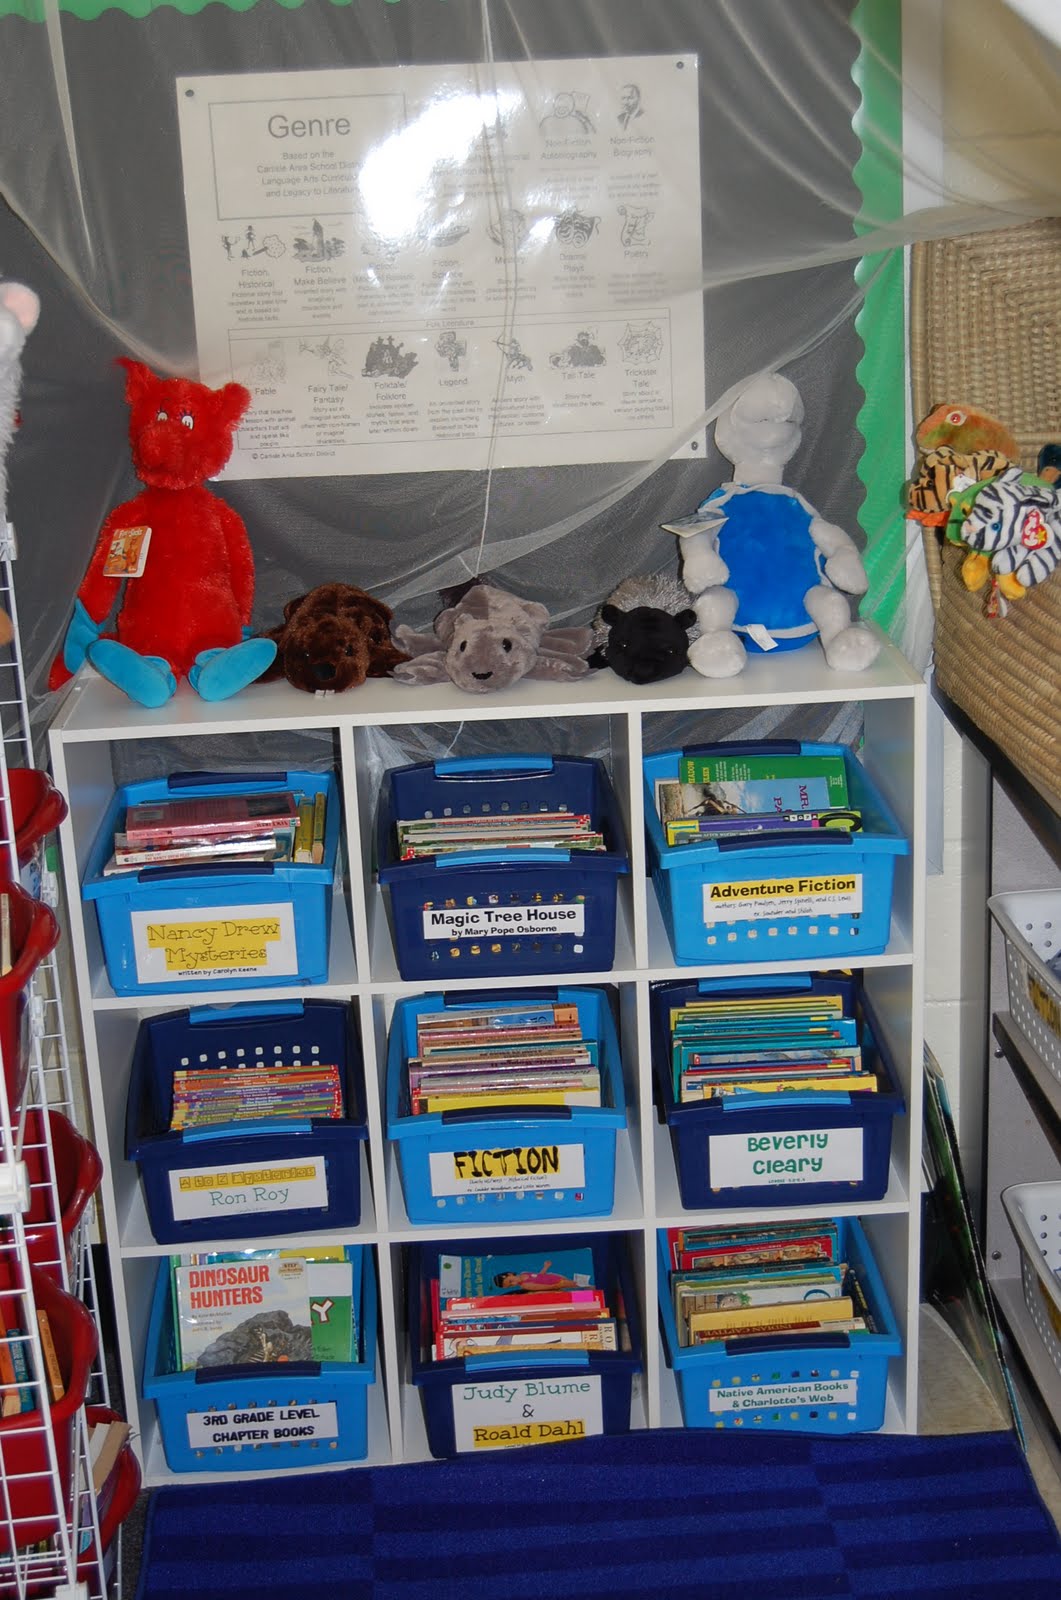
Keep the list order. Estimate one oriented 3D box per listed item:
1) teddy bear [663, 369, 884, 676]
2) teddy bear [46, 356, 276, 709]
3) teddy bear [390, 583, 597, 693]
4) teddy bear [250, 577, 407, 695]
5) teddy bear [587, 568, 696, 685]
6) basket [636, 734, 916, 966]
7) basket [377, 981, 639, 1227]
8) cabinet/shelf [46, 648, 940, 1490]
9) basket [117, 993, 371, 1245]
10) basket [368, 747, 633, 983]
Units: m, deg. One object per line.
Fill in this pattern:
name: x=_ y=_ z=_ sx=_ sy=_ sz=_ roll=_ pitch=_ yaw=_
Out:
teddy bear: x=0.253 y=-0.342 z=1.536 sx=0.241 sy=0.328 sz=0.265 roll=-9 pitch=18 yaw=-20
teddy bear: x=-0.445 y=-0.329 z=1.519 sx=0.339 sy=0.482 sz=0.286 roll=-1 pitch=20 yaw=-11
teddy bear: x=-0.047 y=-0.189 z=1.474 sx=0.235 sy=0.106 sz=0.148 roll=-2 pitch=17 yaw=3
teddy bear: x=-0.231 y=-0.206 z=1.507 sx=0.123 sy=0.054 sz=0.161 roll=-1 pitch=32 yaw=5
teddy bear: x=0.129 y=-0.201 z=1.493 sx=0.125 sy=0.098 sz=0.181 roll=-1 pitch=18 yaw=5
basket: x=0.280 y=0.063 z=1.555 sx=0.283 sy=0.208 sz=0.286 roll=-3 pitch=17 yaw=0
basket: x=-0.033 y=0.379 z=1.620 sx=0.236 sy=0.136 sz=0.299 roll=0 pitch=19 yaw=0
cabinet/shelf: x=-0.043 y=0.345 z=1.535 sx=0.940 sy=0.930 sz=0.311 roll=-3 pitch=26 yaw=-3
basket: x=-0.350 y=0.384 z=1.597 sx=0.244 sy=0.199 sz=0.305 roll=-2 pitch=17 yaw=-9
basket: x=-0.038 y=0.080 z=1.569 sx=0.296 sy=0.207 sz=0.292 roll=-4 pitch=17 yaw=-4
